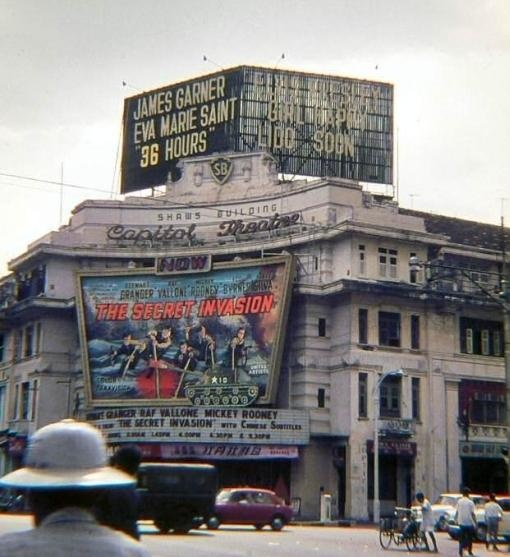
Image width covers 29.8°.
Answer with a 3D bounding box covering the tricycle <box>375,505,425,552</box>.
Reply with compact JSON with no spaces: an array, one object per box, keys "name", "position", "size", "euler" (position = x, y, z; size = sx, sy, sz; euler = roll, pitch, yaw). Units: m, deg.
[{"name":"tricycle","position":[4.428,7.575,29.001],"size":[0.942,1.278,2.000],"euler":[3,-4,-7]}]
